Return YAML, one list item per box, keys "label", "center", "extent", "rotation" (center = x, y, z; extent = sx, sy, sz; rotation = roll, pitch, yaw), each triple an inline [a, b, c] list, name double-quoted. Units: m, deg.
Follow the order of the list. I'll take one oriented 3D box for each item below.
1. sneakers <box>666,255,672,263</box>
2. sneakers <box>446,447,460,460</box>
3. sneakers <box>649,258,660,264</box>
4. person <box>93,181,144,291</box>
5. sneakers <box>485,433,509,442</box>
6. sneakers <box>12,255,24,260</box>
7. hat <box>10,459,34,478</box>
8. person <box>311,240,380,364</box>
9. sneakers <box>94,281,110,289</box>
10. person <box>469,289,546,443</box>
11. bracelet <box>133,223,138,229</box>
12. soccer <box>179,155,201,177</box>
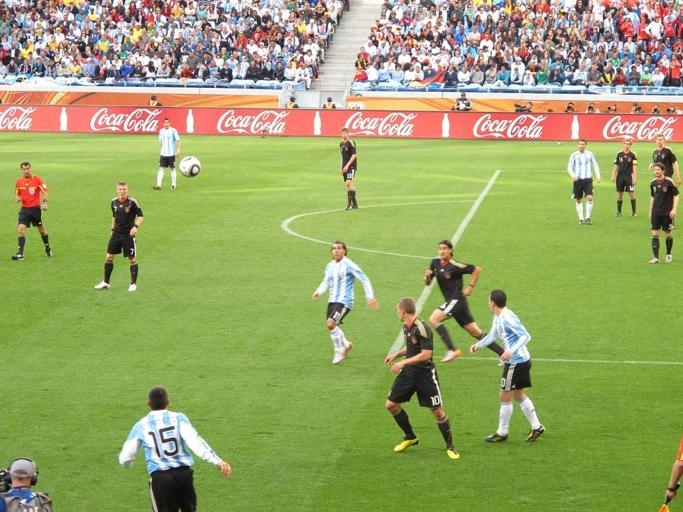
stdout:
- label: "sneakers"
  center: [8.773, 0.063, 36.429]
  extent: [0.140, 0.097, 0.215]
  rotation: [-1, 4, 6]
- label: "sneakers"
  center: [2.181, 3.825, 26.619]
  extent: [0.157, 0.100, 0.264]
  rotation: [-20, 15, -21]
- label: "sneakers"
  center: [8.325, 0.113, 36.214]
  extent: [0.271, 0.110, 0.133]
  rotation: [2, 3, 5]
- label: "person"
  center: [-5.383, -0.493, 33.650]
  extent: [1.053, 2.668, 0.738]
  rotation: [6, 9, 27]
- label: "sneakers"
  center: [3.073, 3.590, 27.072]
  extent: [0.487, 0.186, 0.162]
  rotation: [0, 14, 1]
- label: "sneakers"
  center: [-8.620, 0.033, 36.249]
  extent: [0.356, 0.144, 0.111]
  rotation: [4, 2, -12]
- label: "hat"
  center: [-5.437, 3.572, 23.139]
  extent: [0.304, 0.291, 0.346]
  rotation: [6, 6, -1]
- label: "person"
  center: [-0.006, 0.978, 30.026]
  extent: [1.052, 2.636, 1.063]
  rotation: [-5, 11, -41]
- label: "sneakers"
  center: [-5.949, 0.725, 33.832]
  extent: [0.410, 0.169, 0.143]
  rotation: [2, -4, -2]
- label: "person"
  center: [3.362, 2.177, 27.056]
  extent: [1.333, 2.964, 0.854]
  rotation: [8, 10, 35]
- label: "bracelet"
  center: [-5.049, -0.748, 33.323]
  extent: [0.112, 0.074, 0.106]
  rotation: [-2, 5, -18]
- label: "soccer"
  center: [-5.434, -3.181, 48.567]
  extent: [0.784, 0.759, 0.675]
  rotation: [-15, 15, -11]
